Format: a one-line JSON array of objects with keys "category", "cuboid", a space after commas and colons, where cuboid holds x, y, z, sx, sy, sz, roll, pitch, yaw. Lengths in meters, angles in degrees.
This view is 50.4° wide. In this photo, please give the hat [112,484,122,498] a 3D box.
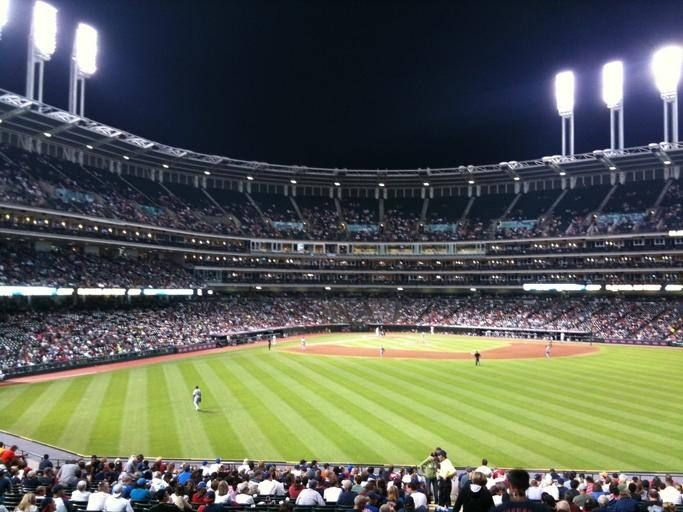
[{"category": "hat", "cuboid": [-11.891, 12.489, 38.256, 0.514, 0.774, 1.015, -1, 4, -17]}]
